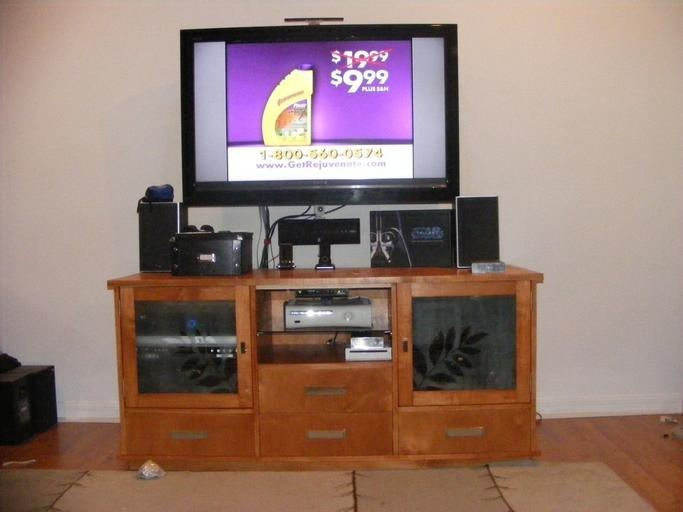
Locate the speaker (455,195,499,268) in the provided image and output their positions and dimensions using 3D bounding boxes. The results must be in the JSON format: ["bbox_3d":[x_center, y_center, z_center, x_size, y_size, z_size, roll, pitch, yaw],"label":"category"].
[{"bbox_3d":[0.772,-0.131,4.089,0.229,0.400,0.100,-2,10,-10],"label":"speaker"}]
